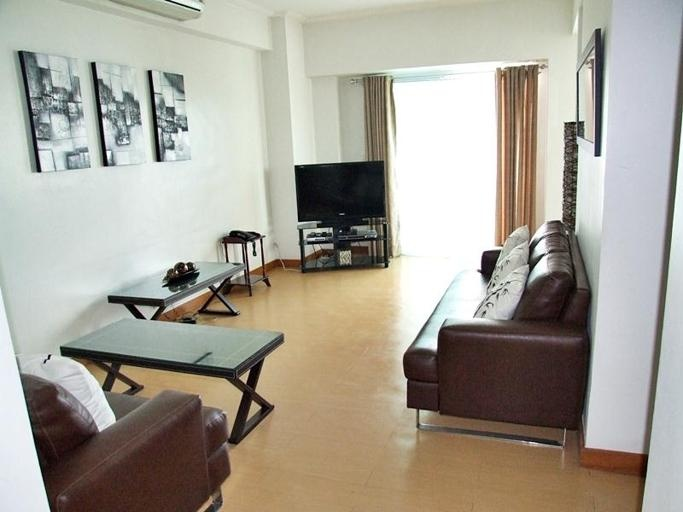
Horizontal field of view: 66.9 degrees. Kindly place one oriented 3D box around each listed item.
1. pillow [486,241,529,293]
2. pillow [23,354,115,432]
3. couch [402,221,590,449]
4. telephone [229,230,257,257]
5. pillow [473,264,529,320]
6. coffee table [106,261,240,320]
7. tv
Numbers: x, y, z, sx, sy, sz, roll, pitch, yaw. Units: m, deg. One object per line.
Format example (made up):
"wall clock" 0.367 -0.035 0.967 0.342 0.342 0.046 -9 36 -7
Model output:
"pillow" 1.314 0.109 4.012 0.245 0.454 0.501 -14 15 19
"pillow" -1.246 0.533 2.426 0.344 0.121 0.395 39 9 -47
"couch" 1.092 0.499 3.535 1.037 1.062 1.221 2 13 21
"telephone" -1.153 -0.192 6.178 0.242 0.249 0.346 1 9 14
"pillow" 1.089 0.220 3.400 0.247 0.338 0.468 12 22 12
"coffee table" -1.557 0.445 5.056 0.724 0.555 1.290 1 13 20
"tv" 0.008 -0.861 6.933 1.188 0.901 0.285 -3 29 0
